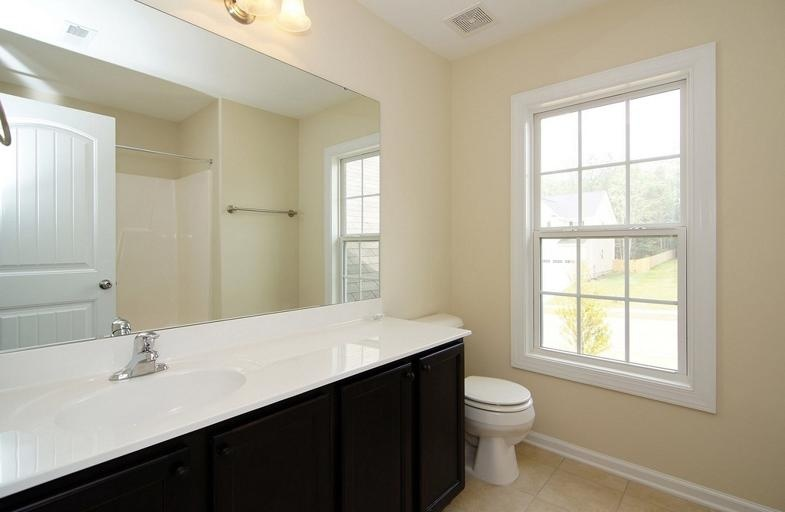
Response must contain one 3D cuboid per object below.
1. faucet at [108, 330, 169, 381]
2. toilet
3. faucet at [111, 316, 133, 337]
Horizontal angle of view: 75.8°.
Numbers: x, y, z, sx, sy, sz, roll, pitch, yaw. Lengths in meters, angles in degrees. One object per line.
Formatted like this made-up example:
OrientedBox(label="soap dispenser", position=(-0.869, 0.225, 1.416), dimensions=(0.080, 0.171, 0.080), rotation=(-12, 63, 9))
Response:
OrientedBox(label="faucet", position=(-1.190, 0.463, 2.385), dimensions=(0.086, 0.189, 0.258), rotation=(4, 4, 43))
OrientedBox(label="toilet", position=(0.578, 0.985, 3.395), dimensions=(0.827, 0.858, 0.460), rotation=(4, 5, 32))
OrientedBox(label="faucet", position=(-1.309, 0.354, 2.463), dimensions=(0.092, 0.092, 0.066), rotation=(-2, 2, -24))
